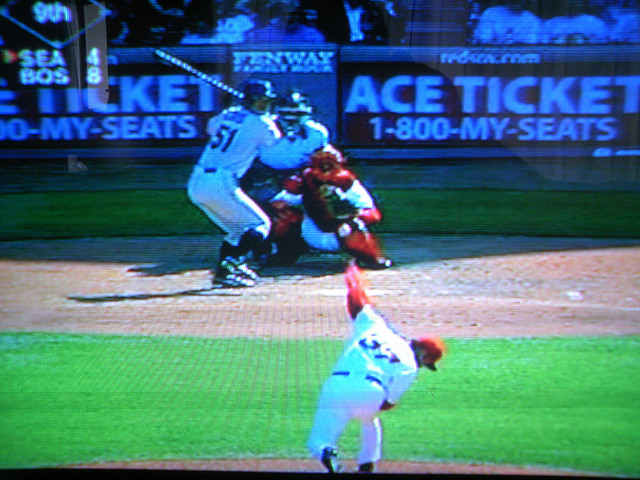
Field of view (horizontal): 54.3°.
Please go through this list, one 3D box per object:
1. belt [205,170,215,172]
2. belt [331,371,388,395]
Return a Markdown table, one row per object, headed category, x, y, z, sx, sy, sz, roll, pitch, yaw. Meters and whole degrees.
| category | x | y | z | sx | sy | sz | roll | pitch | yaw |
| --- | --- | --- | --- | --- | --- | --- | --- | --- | --- |
| belt | -0.644 | -0.405 | 3.679 | 0.057 | 0.011 | 0.006 | 0 | 8 | 1 |
| belt | 0.244 | 0.853 | 3.736 | 0.278 | 0.036 | 0.203 | 1 | 6 | -14 |
